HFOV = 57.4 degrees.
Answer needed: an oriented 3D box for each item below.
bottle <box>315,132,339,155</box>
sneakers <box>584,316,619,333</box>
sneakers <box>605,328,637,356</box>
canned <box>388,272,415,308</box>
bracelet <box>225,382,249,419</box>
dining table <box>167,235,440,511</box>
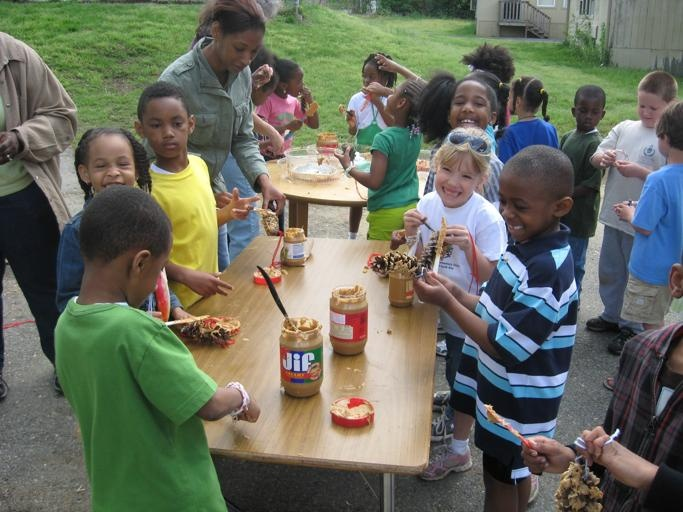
[{"bbox_3d":[-0.128,-1.154,6.364,0.248,0.258,0.254,16,19,42],"label":"bottle"},{"bbox_3d":[2.192,0.588,5.273,0.252,0.166,0.118,-3,28,11],"label":"sneakers"},{"bbox_3d":[2.254,0.664,5.024,0.174,0.156,0.320,13,24,32],"label":"sneakers"},{"bbox_3d":[0.328,0.174,3.372,0.122,0.211,0.128,10,23,22],"label":"canned"},{"bbox_3d":[-0.447,0.587,2.555,0.060,0.140,0.115,-12,-9,36],"label":"bracelet"},{"bbox_3d":[-0.175,0.583,3.002,0.899,0.392,1.603,4,38,3],"label":"dining table"}]
